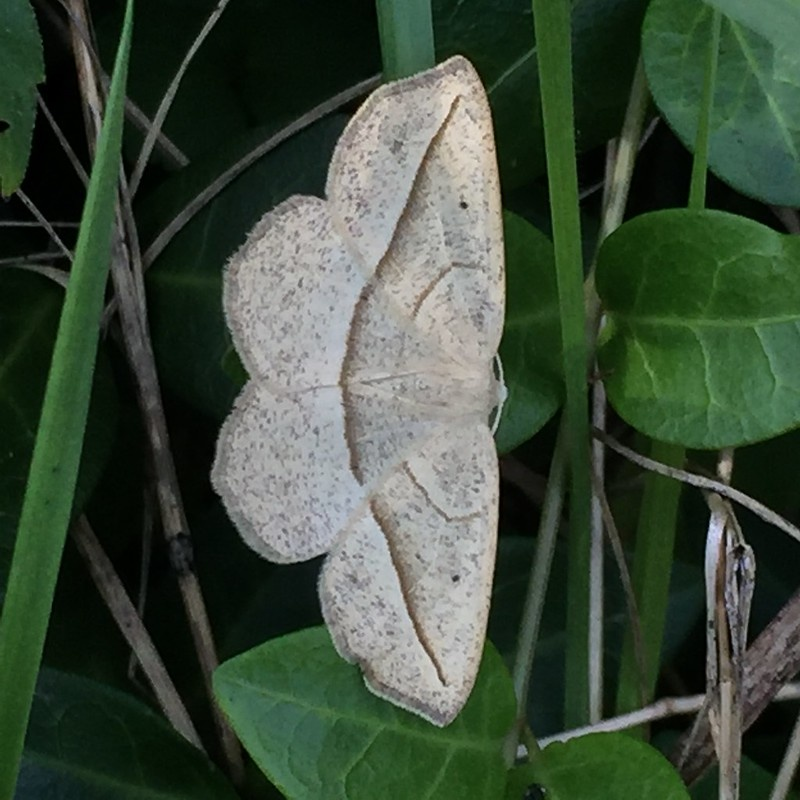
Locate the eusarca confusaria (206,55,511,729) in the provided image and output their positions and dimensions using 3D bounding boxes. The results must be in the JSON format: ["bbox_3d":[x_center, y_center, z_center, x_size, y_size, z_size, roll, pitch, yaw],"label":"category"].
[{"bbox_3d":[-0.041,-0.009,0.881,0.237,0.345,0.293,2,44,13],"label":"eusarca confusaria"}]
